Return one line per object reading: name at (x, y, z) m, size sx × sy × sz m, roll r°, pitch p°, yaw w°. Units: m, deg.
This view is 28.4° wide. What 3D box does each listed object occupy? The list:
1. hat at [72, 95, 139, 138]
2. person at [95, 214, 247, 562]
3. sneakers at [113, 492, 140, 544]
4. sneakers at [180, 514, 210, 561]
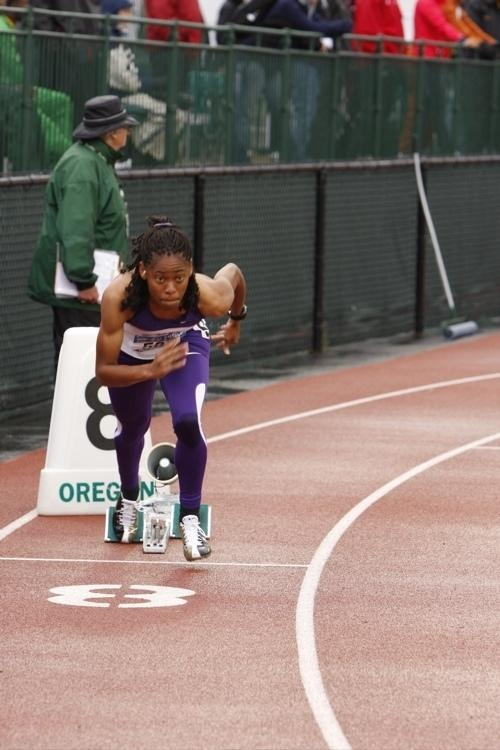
hat at (-0.915, -1.633, 6.263) m, size 0.324 × 0.314 × 0.271 m, roll 5°, pitch 5°, yaw 39°
person at (-0.359, 0.096, 4.242) m, size 0.637 × 1.503 × 1.084 m, roll 2°, pitch 4°, yaw -1°
sneakers at (-0.600, 0.702, 4.843) m, size 0.096 × 0.267 × 0.104 m, roll -2°, pitch -5°, yaw -14°
sneakers at (-0.243, 0.719, 4.348) m, size 0.087 × 0.113 × 0.242 m, roll -9°, pitch 23°, yaw -6°
